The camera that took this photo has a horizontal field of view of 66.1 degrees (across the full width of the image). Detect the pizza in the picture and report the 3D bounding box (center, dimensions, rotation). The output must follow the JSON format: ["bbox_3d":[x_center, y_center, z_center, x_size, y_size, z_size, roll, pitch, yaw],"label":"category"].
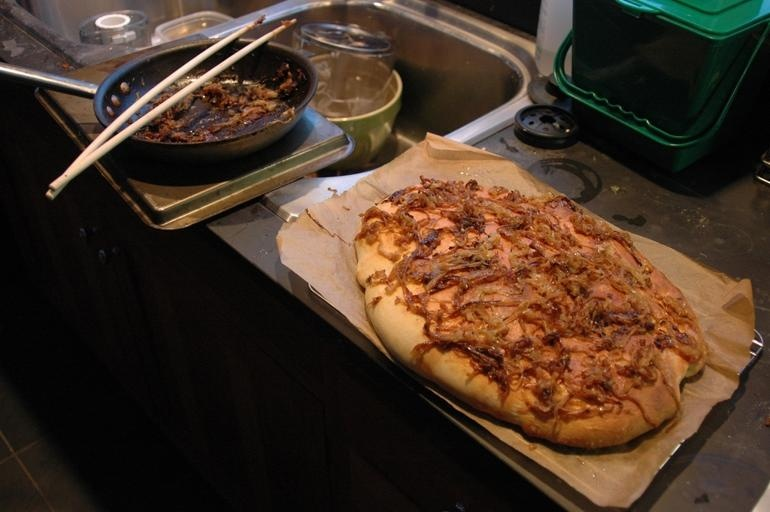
[{"bbox_3d":[0.277,0.084,1.248,0.738,0.153,0.525,34,61,24],"label":"pizza"}]

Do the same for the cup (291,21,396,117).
[{"bbox_3d":[-0.122,-0.574,1.811,0.318,0.273,0.305,2,44,-2],"label":"cup"}]
